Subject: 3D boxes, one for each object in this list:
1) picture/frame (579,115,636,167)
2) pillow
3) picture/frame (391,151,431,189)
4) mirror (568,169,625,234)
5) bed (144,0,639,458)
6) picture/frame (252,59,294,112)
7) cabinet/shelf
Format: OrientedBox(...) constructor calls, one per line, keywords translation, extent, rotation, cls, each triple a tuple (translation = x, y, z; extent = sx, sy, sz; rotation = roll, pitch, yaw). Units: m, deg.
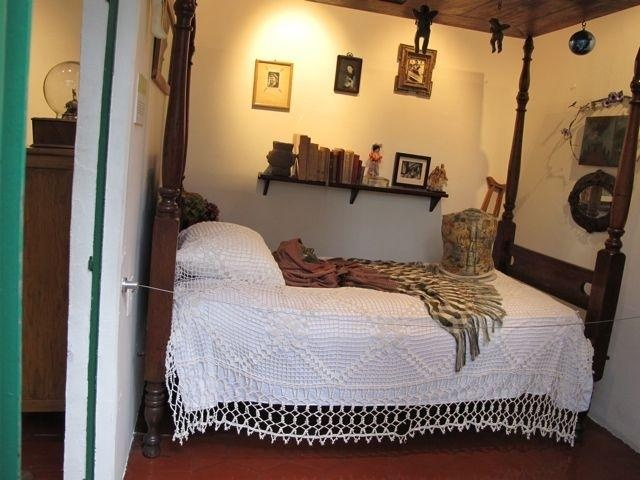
OrientedBox(translation=(1.958, -0.667, 3.520), extent=(0.040, 0.447, 0.391), rotation=(4, 7, -18), cls="picture/frame")
OrientedBox(translation=(-0.506, 0.074, 2.946), extent=(0.581, 0.287, 0.423), rotation=(2, 9, -16), cls="pillow")
OrientedBox(translation=(0.787, -0.606, 4.563), extent=(0.271, 0.262, 0.032), rotation=(11, 1, -15), cls="picture/frame")
OrientedBox(translation=(1.898, -0.257, 3.551), extent=(0.060, 0.500, 0.411), rotation=(5, 3, -21), cls="mirror")
OrientedBox(translation=(0.471, -0.126, 3.442), extent=(2.487, 2.706, 1.636), rotation=(2, 12, -9), cls="bed")
OrientedBox(translation=(-0.390, -1.264, 4.215), extent=(0.363, 0.482, 0.032), rotation=(2, 16, -8), cls="picture/frame")
OrientedBox(translation=(-1.380, 0.209, 2.644), extent=(0.228, 1.349, 0.139), rotation=(3, 9, -3), cls="cabinet/shelf")
